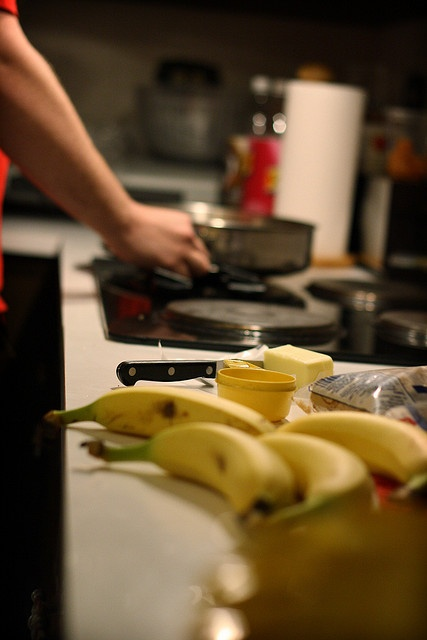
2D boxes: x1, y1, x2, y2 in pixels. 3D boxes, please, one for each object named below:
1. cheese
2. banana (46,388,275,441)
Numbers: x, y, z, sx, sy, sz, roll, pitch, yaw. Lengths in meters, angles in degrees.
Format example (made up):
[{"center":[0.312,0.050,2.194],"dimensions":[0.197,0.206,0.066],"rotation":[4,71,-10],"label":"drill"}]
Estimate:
[{"center":[0.051,0.025,0.360],"dimensions":[0.027,0.022,0.035],"rotation":[-9,17,-36],"label":"cheese"},{"center":[-0.020,0.038,0.243],"dimensions":[0.094,0.019,0.015],"rotation":[1,3,6],"label":"banana"}]
